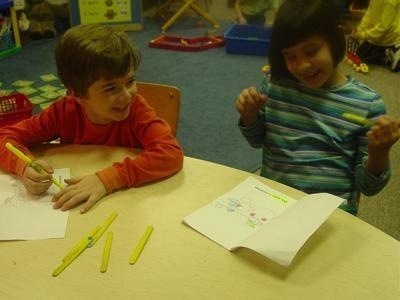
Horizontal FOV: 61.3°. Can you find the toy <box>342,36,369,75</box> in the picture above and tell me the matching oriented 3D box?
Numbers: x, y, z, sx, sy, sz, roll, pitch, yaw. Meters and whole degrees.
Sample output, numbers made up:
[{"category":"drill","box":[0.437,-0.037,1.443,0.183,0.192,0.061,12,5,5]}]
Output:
[{"category":"toy","box":[0.461,-0.289,1.003,0.050,0.074,0.154,-2,41,14]}]

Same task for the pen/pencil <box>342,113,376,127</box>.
[{"category":"pen/pencil","box":[0.503,-0.098,1.079,0.097,0.028,0.012,26,41,30]}]

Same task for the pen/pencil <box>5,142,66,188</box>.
[{"category":"pen/pencil","box":[-0.522,0.053,1.058,0.188,0.020,0.021,39,37,3]}]
